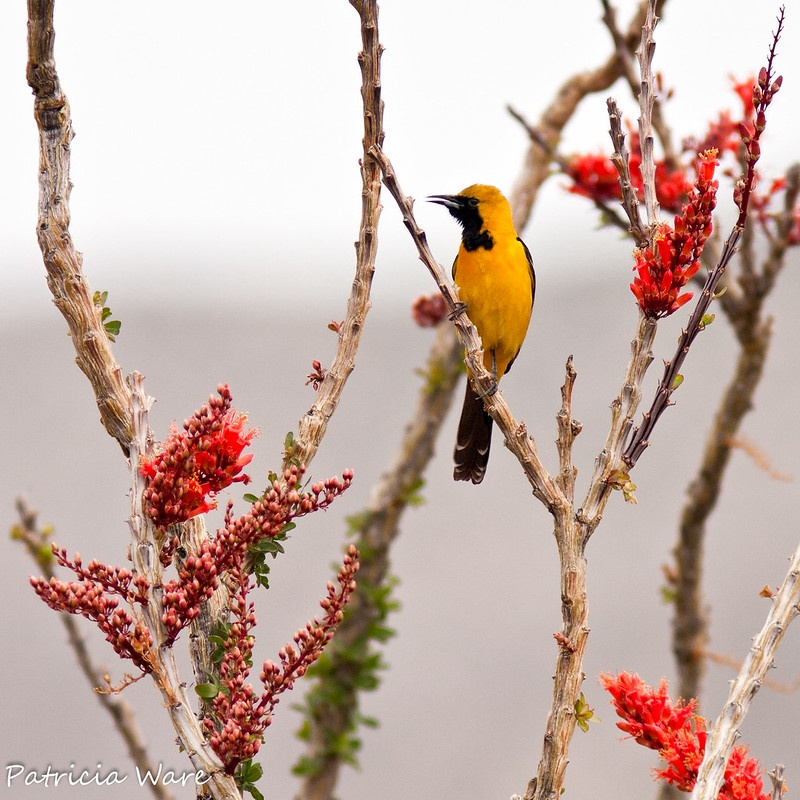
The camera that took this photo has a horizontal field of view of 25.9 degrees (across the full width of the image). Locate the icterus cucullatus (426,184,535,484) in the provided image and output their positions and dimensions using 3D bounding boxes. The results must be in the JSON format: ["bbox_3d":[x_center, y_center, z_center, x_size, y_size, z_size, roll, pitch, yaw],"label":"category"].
[{"bbox_3d":[0.358,-0.273,6.810,0.336,0.521,1.319,1,-90,4],"label":"icterus cucullatus"}]
